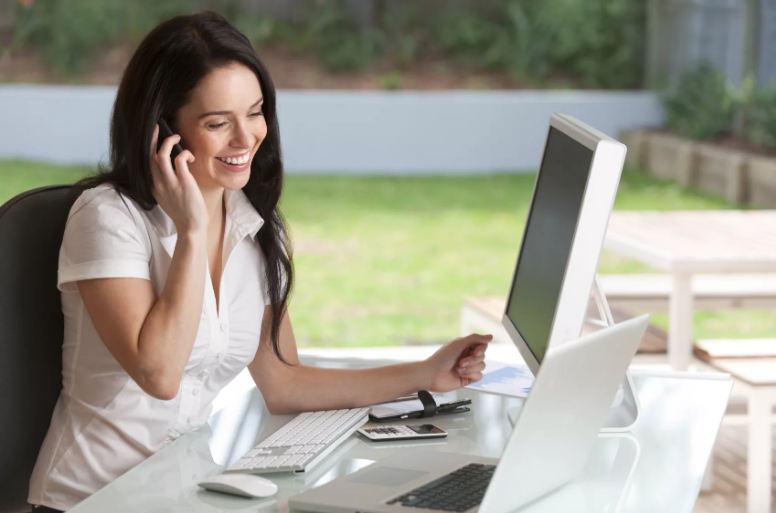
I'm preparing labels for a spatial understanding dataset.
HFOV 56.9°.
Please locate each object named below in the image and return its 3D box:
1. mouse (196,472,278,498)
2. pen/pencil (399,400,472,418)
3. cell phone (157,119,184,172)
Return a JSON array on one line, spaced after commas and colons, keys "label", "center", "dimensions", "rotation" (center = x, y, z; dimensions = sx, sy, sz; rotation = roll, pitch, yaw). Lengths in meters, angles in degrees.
[{"label": "mouse", "center": [-0.239, 0.356, 1.163], "dimensions": [0.082, 0.019, 0.051], "rotation": [5, 3, 26]}, {"label": "pen/pencil", "center": [0.099, 0.307, 1.435], "dimensions": [0.130, 0.025, 0.027], "rotation": [-3, 2, -17]}, {"label": "cell phone", "center": [-0.430, -0.222, 1.454], "dimensions": [0.026, 0.085, 0.061], "rotation": [-14, 9, -40]}]
